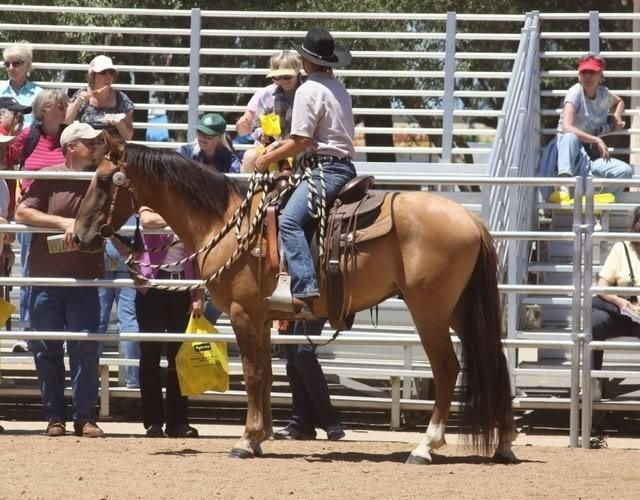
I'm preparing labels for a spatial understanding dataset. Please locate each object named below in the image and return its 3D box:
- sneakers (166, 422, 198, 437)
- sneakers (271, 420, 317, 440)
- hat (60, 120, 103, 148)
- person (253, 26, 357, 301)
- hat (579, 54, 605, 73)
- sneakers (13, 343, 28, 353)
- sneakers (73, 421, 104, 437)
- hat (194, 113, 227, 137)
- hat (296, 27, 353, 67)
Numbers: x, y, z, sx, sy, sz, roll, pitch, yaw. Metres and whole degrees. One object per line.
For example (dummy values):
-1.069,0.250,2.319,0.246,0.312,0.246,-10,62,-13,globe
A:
-1.352,1.757,16.257,0.283,0.097,0.133,-1,-1,7,sneakers
-0.256,1.780,16.407,0.440,0.176,0.164,3,-7,-4,sneakers
-2.323,-1.129,16.078,0.344,0.163,0.229,-14,7,9,hat
-0.079,-0.815,15.369,0.908,2.551,0.441,0,1,-16,person
3.082,-2.137,18.801,0.282,0.205,0.212,0,1,4,hat
-3.218,1.038,17.764,0.088,0.099,0.250,2,7,0,sneakers
-2.250,1.733,16.059,0.275,0.104,0.124,-3,-3,22,sneakers
-1.101,-1.262,16.434,0.286,0.146,0.202,11,6,12,hat
0.016,-1.919,15.466,0.401,0.161,0.439,-8,39,-34,hat
